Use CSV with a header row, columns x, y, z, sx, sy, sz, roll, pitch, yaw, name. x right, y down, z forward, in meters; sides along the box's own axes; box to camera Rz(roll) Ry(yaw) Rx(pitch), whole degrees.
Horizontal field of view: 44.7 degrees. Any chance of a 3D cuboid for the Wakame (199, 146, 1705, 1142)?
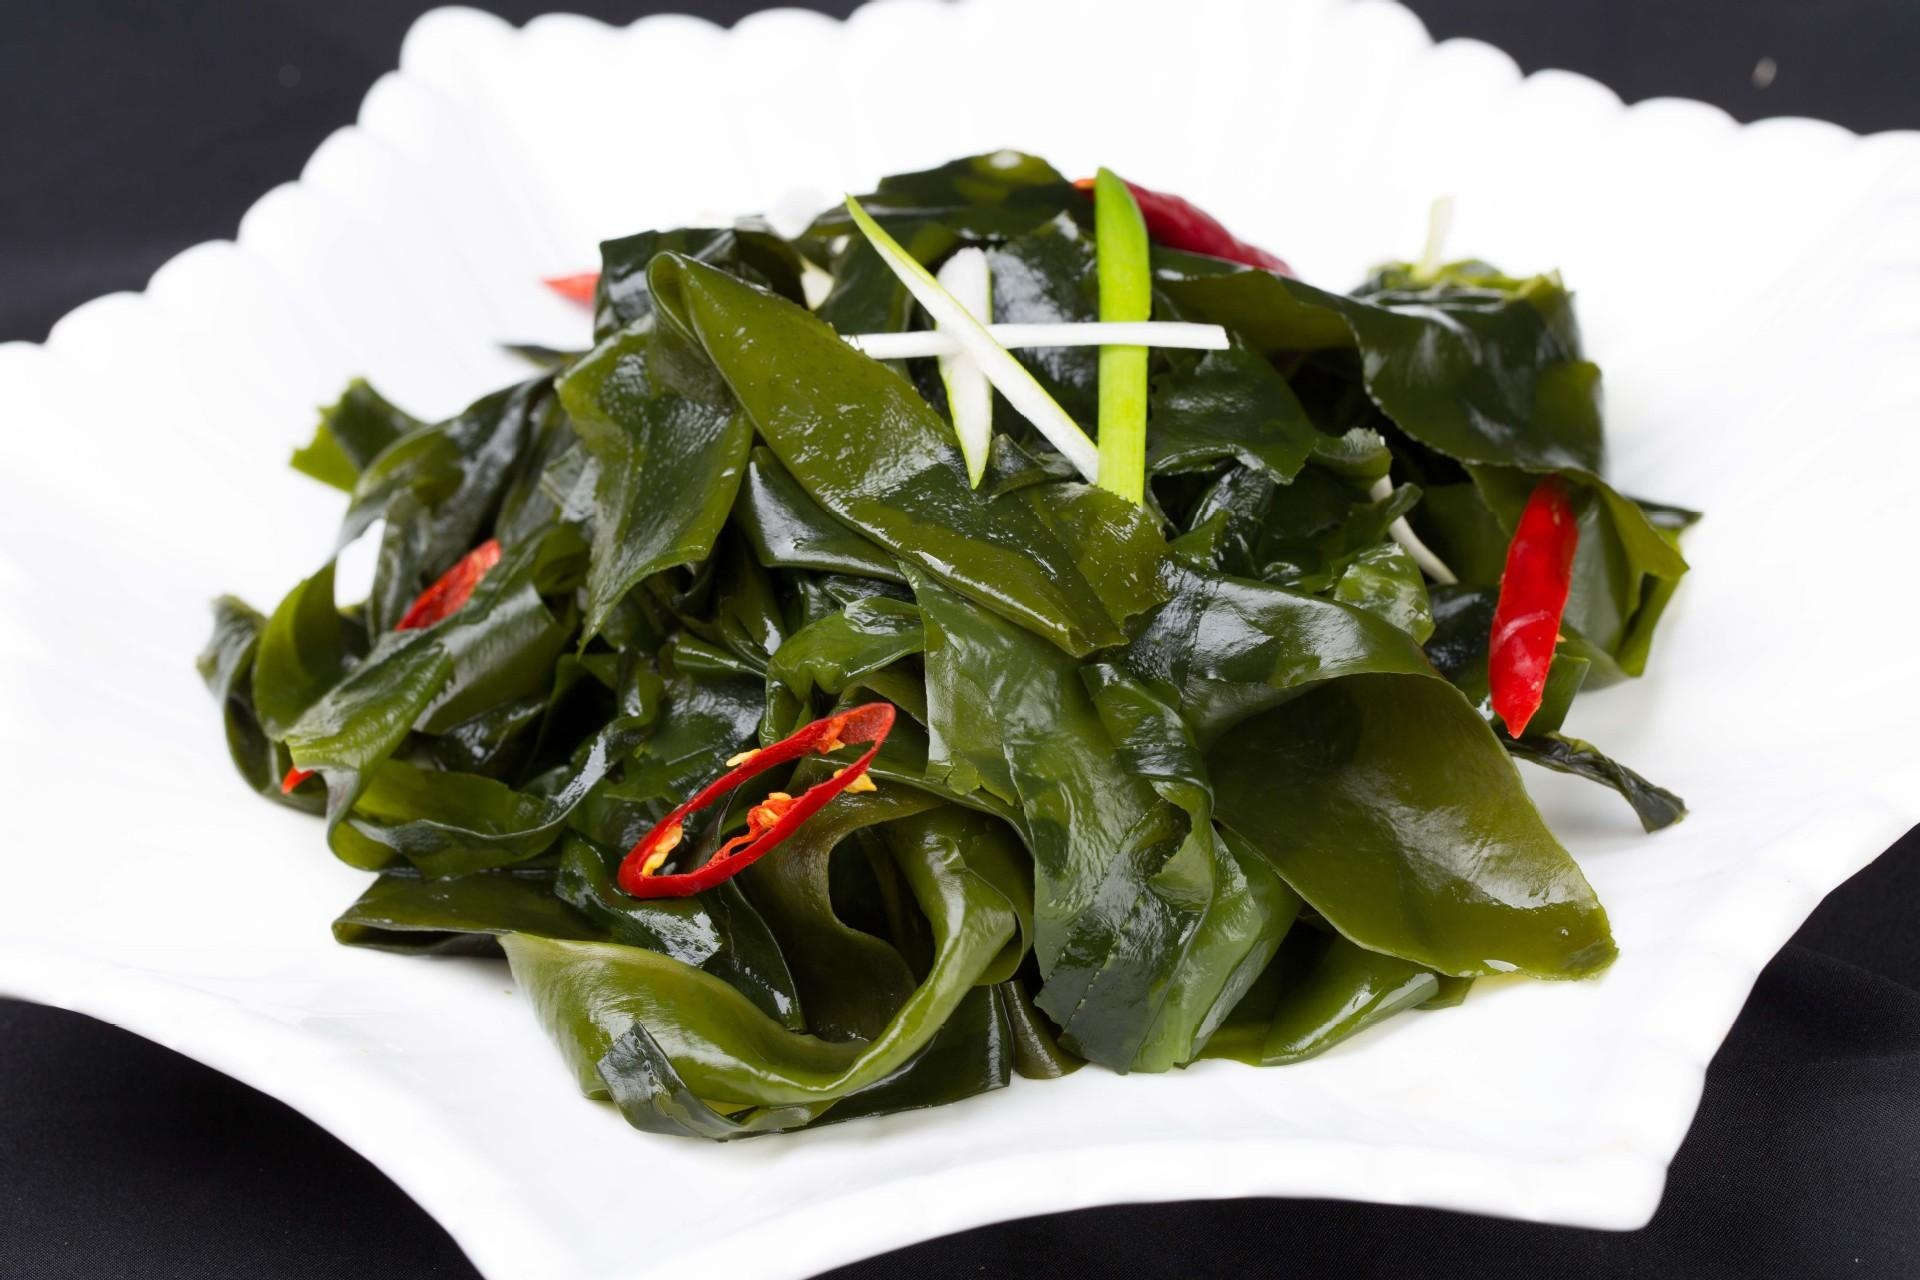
x,y,z,sx,sy,sz,roll,pitch,yaw,name
0.062,0.032,2.649,1.282,0.536,1.337,33,56,28,Wakame
